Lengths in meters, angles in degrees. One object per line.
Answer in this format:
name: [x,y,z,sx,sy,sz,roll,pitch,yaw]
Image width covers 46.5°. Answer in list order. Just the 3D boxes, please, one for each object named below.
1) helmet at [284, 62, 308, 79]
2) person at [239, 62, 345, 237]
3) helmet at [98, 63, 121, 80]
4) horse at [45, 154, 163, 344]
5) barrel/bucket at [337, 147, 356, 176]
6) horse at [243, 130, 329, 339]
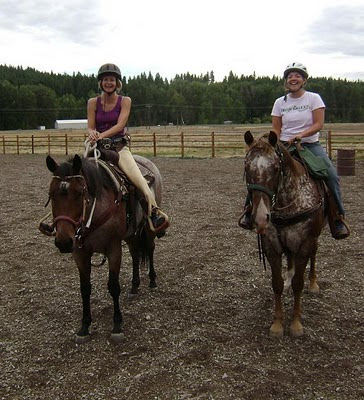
helmet: [1.158,-1.308,4.284,0.225,0.147,0.149,1,13,11]
person: [1.193,-0.547,4.229,1.041,1.700,1.052,5,14,31]
helmet: [-0.737,-1.302,4.287,0.236,0.153,0.352,-3,12,-10]
horse: [-0.732,0.409,4.543,0.680,1.724,2.713,-2,4,7]
barrel/bucket: [5.299,-1.199,13.534,0.594,0.821,0.580,-2,8,0]
horse: [0.960,0.280,3.940,0.672,1.862,1.513,3,13,21]
